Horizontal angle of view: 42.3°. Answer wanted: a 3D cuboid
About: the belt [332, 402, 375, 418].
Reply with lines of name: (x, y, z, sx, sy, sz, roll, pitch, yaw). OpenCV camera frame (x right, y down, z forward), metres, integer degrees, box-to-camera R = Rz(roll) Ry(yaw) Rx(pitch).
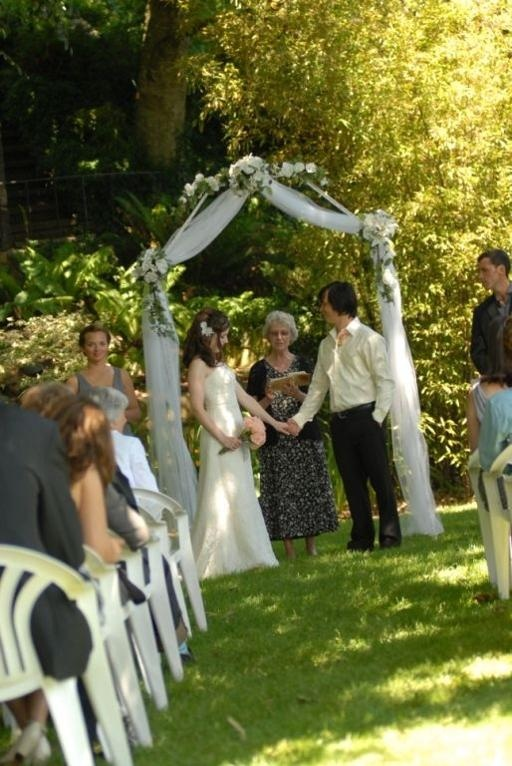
belt: (0.668, 0.196, 4.582, 0.281, 0.076, 0.060, -9, -4, 30)

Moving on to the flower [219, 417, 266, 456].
flower: (-0.050, 0.356, 4.412, 0.326, 0.175, 0.209, -25, 48, -19)

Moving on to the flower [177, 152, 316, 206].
flower: (-0.046, -1.776, 5.630, 1.240, 0.271, 0.460, -6, -4, -3)

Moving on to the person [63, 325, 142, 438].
person: (-1.055, 0.047, 4.527, 0.562, 0.848, 0.444, -3, 9, -24)

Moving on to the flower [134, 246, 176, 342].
flower: (-0.835, -0.744, 5.587, 0.286, 0.500, 0.362, -8, -4, -7)

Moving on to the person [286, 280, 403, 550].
person: (0.688, 0.249, 4.702, 0.718, 1.522, 0.486, -10, -4, 24)
